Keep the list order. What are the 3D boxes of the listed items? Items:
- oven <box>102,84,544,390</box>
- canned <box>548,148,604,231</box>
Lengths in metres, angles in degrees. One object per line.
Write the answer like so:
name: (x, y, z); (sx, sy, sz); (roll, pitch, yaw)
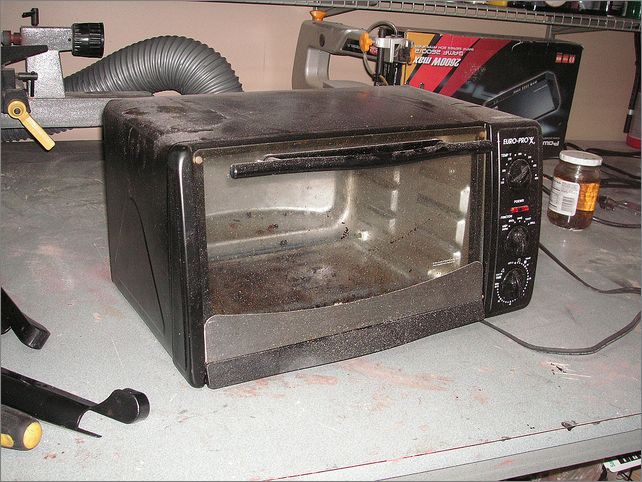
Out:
oven: (0.001, -0.062, 1.002); (0.678, 0.347, 0.483); (-10, 23, -29)
canned: (0.599, -0.123, 1.262); (0.106, 0.165, 0.104); (-14, 26, -29)
